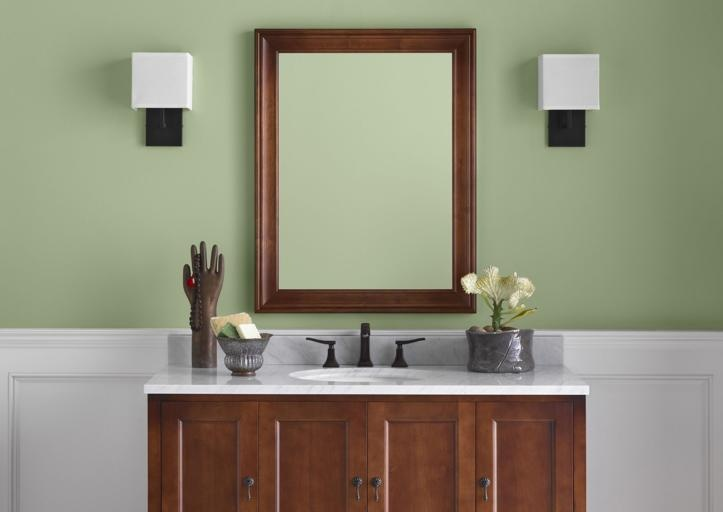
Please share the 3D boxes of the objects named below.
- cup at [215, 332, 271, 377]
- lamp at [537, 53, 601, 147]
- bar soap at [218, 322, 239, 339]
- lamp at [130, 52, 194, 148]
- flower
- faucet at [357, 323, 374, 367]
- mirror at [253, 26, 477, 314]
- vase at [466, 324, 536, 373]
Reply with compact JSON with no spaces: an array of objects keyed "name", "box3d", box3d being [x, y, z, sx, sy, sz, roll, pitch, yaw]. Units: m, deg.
[{"name":"cup","box3d":[-0.551,0.465,3.836,0.204,0.137,0.201,2,-9,0]},{"name":"lamp","box3d":[1.047,-0.790,4.181,0.299,0.462,0.116,0,0,10]},{"name":"bar soap","box3d":[-0.620,0.355,3.859,0.073,0.073,0.031,1,-26,-11]},{"name":"lamp","box3d":[-1.017,-0.808,4.224,0.307,0.482,0.149,1,1,5]},{"name":"flower","box3d":[0.679,0.207,4.094,0.358,0.311,0.317,0,0,11]},{"name":"faucet","box3d":[0.023,0.444,4.139,0.070,0.215,0.140,0,0,2]},{"name":"mirror","box3d":[0.021,-0.437,4.190,1.114,1.446,0.095,0,0,3]},{"name":"vase","box3d":[0.668,0.427,3.909,0.238,0.145,0.236,0,-2,-28]}]
